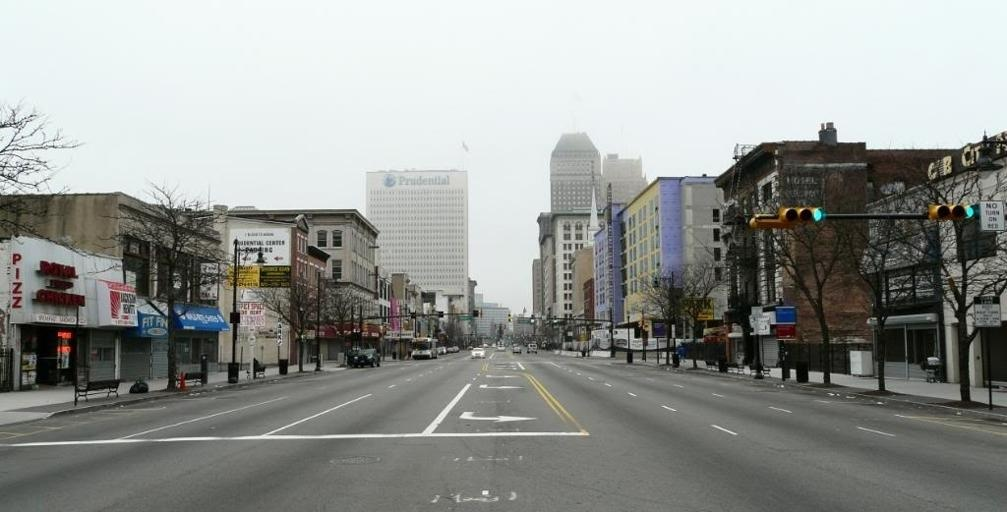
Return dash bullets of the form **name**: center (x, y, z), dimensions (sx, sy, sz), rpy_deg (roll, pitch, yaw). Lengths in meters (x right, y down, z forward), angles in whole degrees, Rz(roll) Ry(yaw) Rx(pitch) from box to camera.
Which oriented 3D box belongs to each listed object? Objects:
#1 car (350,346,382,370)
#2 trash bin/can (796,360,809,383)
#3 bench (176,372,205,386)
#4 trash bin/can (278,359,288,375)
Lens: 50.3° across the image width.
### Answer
- **car**: center (-15.181, 11.247, 118.584), dimensions (3.538, 1.932, 2.129), rpy_deg (6, -13, -39)
- **trash bin/can**: center (24.888, 9.690, 89.654), dimensions (0.821, 1.719, 1.280), rpy_deg (-3, -9, 6)
- **bench**: center (-25.863, 10.410, 88.847), dimensions (2.365, 1.223, 1.538), rpy_deg (2, -5, -7)
- **trash bin/can**: center (-20.828, 10.417, 101.104), dimensions (0.564, 1.465, 1.035), rpy_deg (-2, -9, -5)
